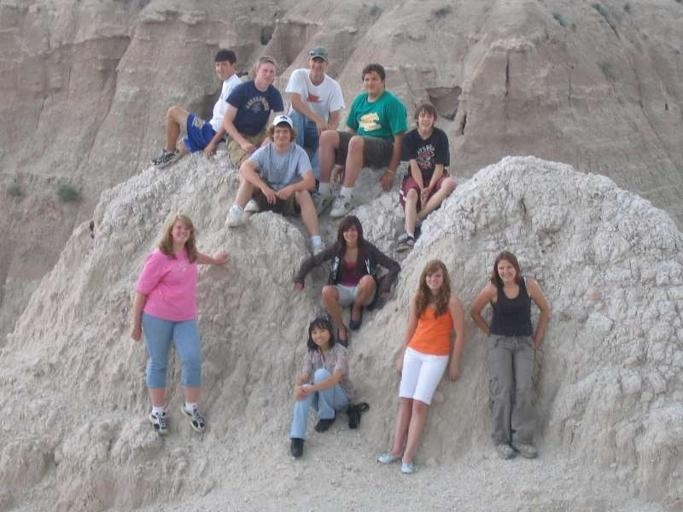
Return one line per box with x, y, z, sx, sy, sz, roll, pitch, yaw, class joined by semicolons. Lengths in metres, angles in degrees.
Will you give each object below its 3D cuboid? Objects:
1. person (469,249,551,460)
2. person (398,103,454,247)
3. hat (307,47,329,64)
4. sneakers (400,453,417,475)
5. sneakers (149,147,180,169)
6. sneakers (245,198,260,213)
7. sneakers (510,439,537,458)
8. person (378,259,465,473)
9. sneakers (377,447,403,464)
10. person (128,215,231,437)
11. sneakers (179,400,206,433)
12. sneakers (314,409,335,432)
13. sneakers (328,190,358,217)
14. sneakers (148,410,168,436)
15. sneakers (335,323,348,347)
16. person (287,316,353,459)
2.916;1.669;21.798;1.136;3.264;1.028;2;14;10;person
1.560;-1.469;23.314;1.006;2.403;1.166;1;14;6;person
-0.410;-3.728;24.116;0.338;0.316;0.275;-3;15;-10;hat
1.150;3.521;21.842;0.293;0.287;0.189;-4;15;-13;sneakers
-3.313;-1.812;24.223;0.549;0.302;0.288;-28;-19;6;sneakers
-1.610;-0.867;23.559;0.219;0.266;0.074;6;-10;46;sneakers
3.091;3.250;21.683;0.210;0.140;0.333;-19;26;-33;sneakers
1.420;1.850;21.987;0.801;3.381;1.411;12;18;42;person
0.828;3.394;21.937;0.403;0.205;0.190;-3;-27;2;sneakers
-2.948;1.216;22.133;1.085;3.719;0.490;-4;13;-13;person
-2.540;2.780;22.481;0.287;0.614;0.253;-26;-4;-46;sneakers
-0.296;2.909;22.274;0.181;0.175;0.406;22;55;20;sneakers
0.045;-0.957;23.773;0.257;0.588;0.285;29;-15;32;sneakers
-3.139;2.879;22.299;0.194;0.240;0.531;-5;55;-44;sneakers
0.022;1.408;22.718;0.130;0.478;0.115;-7;9;8;sneakers
-0.377;2.246;22.173;1.055;2.212;0.617;-4;14;-14;person
